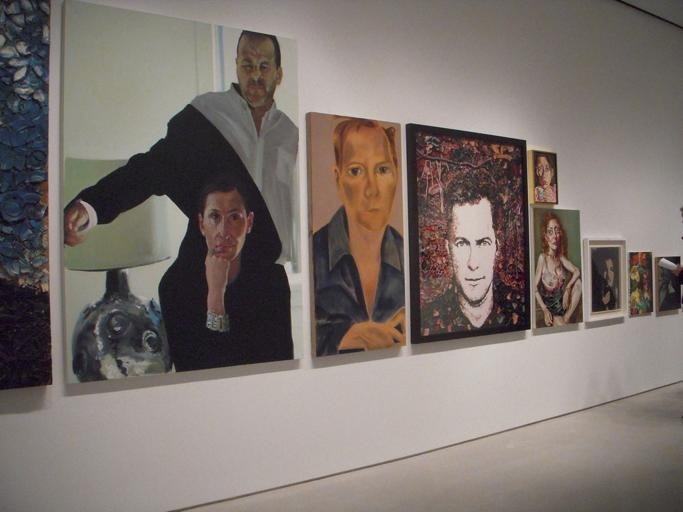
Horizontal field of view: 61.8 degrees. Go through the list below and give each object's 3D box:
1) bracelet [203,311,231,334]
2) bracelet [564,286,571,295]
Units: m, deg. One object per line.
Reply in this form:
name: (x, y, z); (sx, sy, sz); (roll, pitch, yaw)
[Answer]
bracelet: (-1.180, 0.621, 5.430); (0.214, 0.196, 0.032); (-2, 7, -20)
bracelet: (3.029, 0.455, 7.684); (0.109, 0.124, 0.032); (6, -3, -25)
